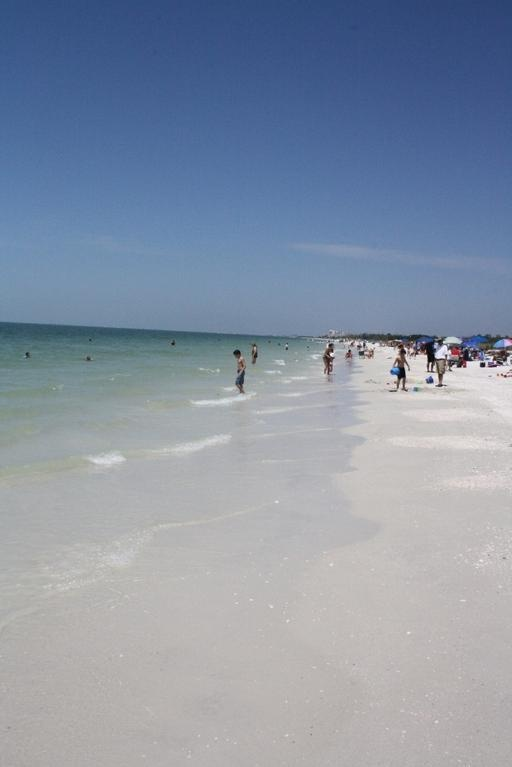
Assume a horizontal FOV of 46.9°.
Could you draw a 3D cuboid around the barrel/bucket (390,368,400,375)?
[{"bbox_3d":[5.263,-0.495,22.555,0.340,0.187,0.461,0,25,8],"label":"barrel/bucket"}]
